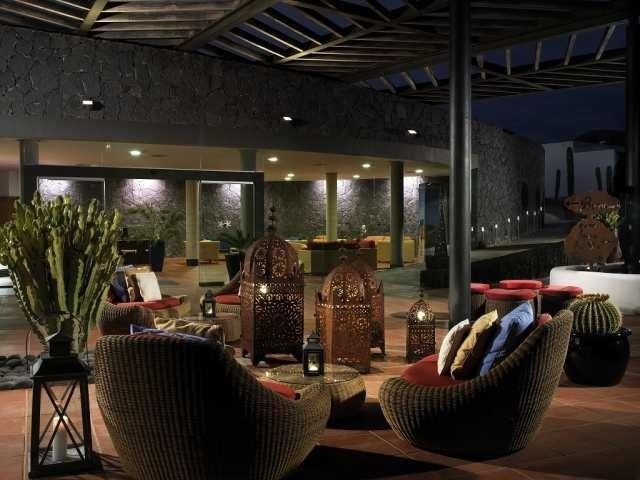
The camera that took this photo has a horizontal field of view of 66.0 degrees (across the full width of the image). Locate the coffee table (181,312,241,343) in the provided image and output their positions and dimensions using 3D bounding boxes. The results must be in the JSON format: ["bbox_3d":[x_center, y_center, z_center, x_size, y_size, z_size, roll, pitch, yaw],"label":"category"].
[{"bbox_3d":[-1.269,1.115,6.465,0.703,0.249,0.622,1,0,0],"label":"coffee table"}]

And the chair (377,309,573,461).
[{"bbox_3d":[1.056,0.972,3.437,1.200,0.677,1.044,2,-1,22],"label":"chair"}]

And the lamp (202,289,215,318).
[{"bbox_3d":[-1.440,0.798,6.301,0.166,0.366,0.362,-2,3,-14],"label":"lamp"}]

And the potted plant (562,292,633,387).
[{"bbox_3d":[2.609,0.953,4.668,0.535,0.854,0.296,1,4,27],"label":"potted plant"}]

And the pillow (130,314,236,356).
[{"bbox_3d":[-1.021,0.712,3.865,0.761,0.242,0.894,2,5,-19],"label":"pillow"}]

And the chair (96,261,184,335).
[{"bbox_3d":[-2.056,0.734,5.593,0.887,0.655,0.685,-3,6,36],"label":"chair"}]
